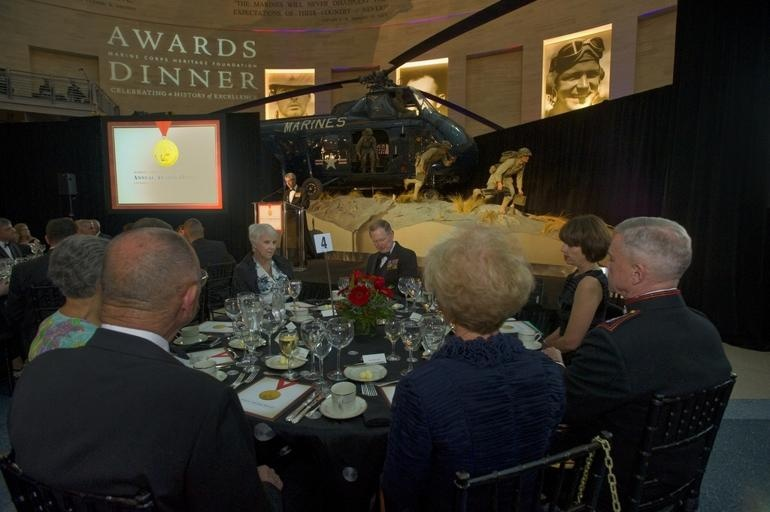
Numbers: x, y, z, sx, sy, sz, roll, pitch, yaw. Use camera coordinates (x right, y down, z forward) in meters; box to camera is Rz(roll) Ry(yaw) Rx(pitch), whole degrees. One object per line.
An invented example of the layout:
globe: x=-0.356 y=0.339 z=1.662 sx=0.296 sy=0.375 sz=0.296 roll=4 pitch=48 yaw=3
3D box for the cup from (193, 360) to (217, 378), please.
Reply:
cup: x=-1.230 y=0.759 z=3.697 sx=0.153 sy=0.109 sz=0.136 roll=-2 pitch=6 yaw=-20

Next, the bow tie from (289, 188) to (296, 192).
bow tie: x=-1.495 y=-1.100 z=8.813 sx=0.113 sy=0.050 sz=0.113 roll=-4 pitch=8 yaw=-14

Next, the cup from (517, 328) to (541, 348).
cup: x=1.126 y=0.601 z=4.189 sx=0.223 sy=0.089 sz=0.218 roll=0 pitch=-6 yaw=0

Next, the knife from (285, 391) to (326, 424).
knife: x=-0.500 y=0.960 z=3.432 sx=0.094 sy=0.025 sz=0.306 roll=11 pitch=12 yaw=13

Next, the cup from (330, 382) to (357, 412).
cup: x=-0.259 y=0.879 z=3.423 sx=0.133 sy=0.116 sz=0.164 roll=5 pitch=27 yaw=9

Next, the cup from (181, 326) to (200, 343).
cup: x=-1.494 y=0.592 z=4.156 sx=0.127 sy=0.111 sz=0.124 roll=1 pitch=5 yaw=0

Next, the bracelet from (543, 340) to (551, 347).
bracelet: x=1.268 y=0.687 z=4.252 sx=0.041 sy=0.029 sz=0.040 roll=-10 pitch=16 yaw=-26

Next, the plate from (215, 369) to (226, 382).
plate: x=-1.117 y=0.819 z=3.683 sx=0.085 sy=0.016 sz=0.083 roll=-3 pitch=18 yaw=-46

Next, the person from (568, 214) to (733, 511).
person: x=1.563 y=0.616 z=3.314 sx=0.891 sy=1.683 sz=0.562 roll=-6 pitch=10 yaw=-23

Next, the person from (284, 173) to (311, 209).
person: x=-1.448 y=-1.085 z=8.827 sx=0.353 sy=0.559 sz=1.162 roll=-3 pitch=8 yaw=-10
